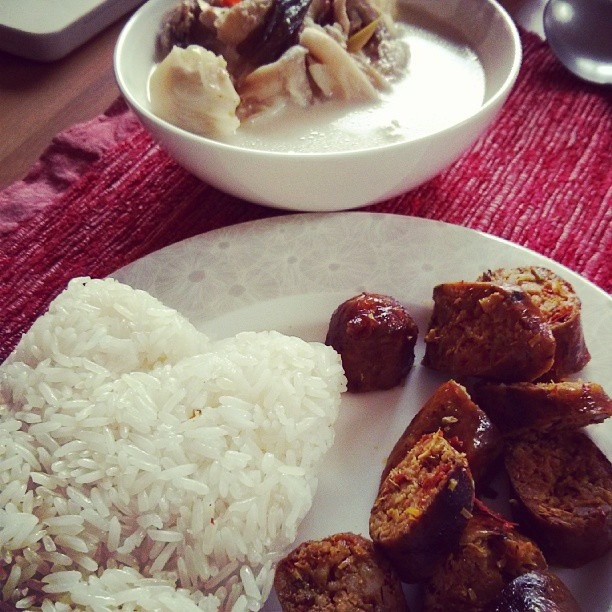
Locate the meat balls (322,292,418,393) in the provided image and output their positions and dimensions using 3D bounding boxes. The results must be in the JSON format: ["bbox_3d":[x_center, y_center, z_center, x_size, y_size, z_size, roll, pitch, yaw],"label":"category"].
[{"bbox_3d":[0.152,0.089,1.722,0.235,0.200,0.225,-1,45,1],"label":"meat balls"}]
